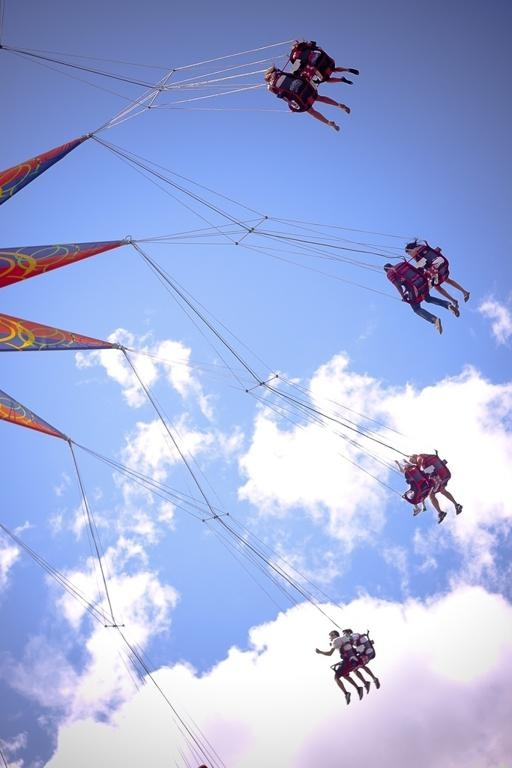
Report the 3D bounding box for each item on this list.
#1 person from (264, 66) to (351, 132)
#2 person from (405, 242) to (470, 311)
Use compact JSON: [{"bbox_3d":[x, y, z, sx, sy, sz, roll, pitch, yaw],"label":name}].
[{"bbox_3d":[0.723,-4.502,13.893,1.337,0.553,0.394,34,-78,-3],"label":"person"},{"bbox_3d":[3.332,-2.163,16.045,0.637,1.440,1.049,-25,-43,20],"label":"person"}]
